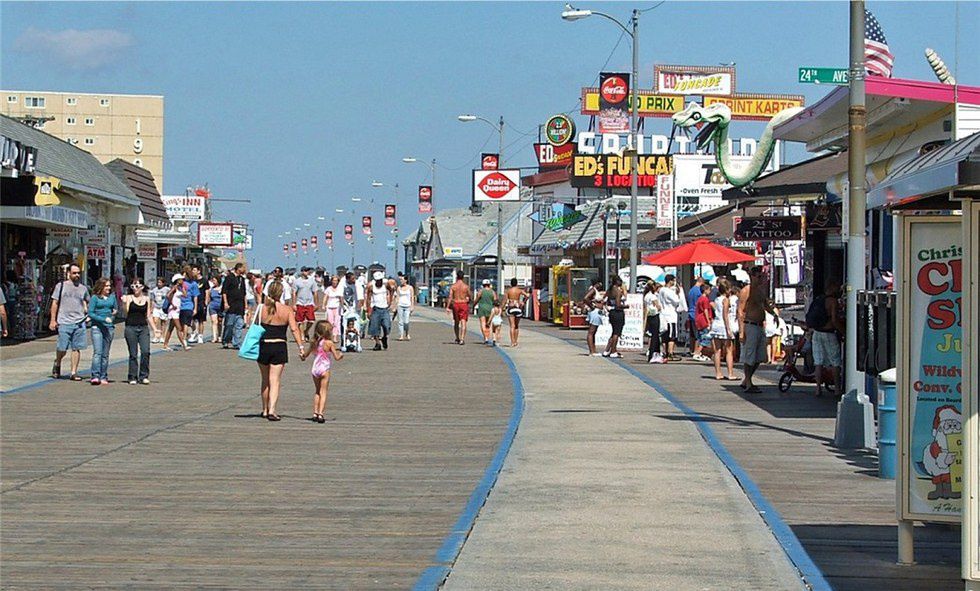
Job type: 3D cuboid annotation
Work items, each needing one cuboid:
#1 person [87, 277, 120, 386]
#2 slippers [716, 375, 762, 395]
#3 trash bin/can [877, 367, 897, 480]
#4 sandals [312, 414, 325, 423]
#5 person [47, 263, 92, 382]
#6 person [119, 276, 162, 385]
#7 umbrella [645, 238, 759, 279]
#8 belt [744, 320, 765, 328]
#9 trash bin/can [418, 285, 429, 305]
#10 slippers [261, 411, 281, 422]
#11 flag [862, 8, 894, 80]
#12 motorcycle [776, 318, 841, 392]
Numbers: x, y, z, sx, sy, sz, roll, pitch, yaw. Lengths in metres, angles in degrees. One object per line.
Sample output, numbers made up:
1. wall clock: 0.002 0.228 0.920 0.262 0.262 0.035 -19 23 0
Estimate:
1. person: -8.027 0.704 32.539 0.624 2.169 0.608 0 -1 -10
2. slippers: 5.298 1.884 33.090 0.996 0.407 0.307 -6 -1 32
3. trash bin/can: 6.281 2.020 24.673 0.270 1.773 0.674 1 0 11
4. sandals: -3.083 2.204 28.352 0.224 0.168 0.315 2 0 -14
5. person: -8.775 0.523 32.795 0.890 2.486 1.061 0 0 -9
6. person: -7.561 0.710 33.082 1.037 3.251 1.140 -1 -1 -7
7. umbrella: 5.901 -1.196 43.546 3.770 1.435 1.723 -1 -1 13
8. belt: 5.531 0.544 32.455 0.377 0.139 0.157 2 0 -10
9. trash bin/can: -3.864 -0.090 94.429 0.864 1.429 0.899 0 -2 9
10. slippers: -3.964 2.194 28.491 0.386 0.157 0.136 -1 3 -21
11. flag: 8.586 -5.560 34.449 0.540 1.564 1.766 1 0 15
12. motorcycle: 7.063 1.414 33.534 1.659 1.610 0.896 1 -1 4
